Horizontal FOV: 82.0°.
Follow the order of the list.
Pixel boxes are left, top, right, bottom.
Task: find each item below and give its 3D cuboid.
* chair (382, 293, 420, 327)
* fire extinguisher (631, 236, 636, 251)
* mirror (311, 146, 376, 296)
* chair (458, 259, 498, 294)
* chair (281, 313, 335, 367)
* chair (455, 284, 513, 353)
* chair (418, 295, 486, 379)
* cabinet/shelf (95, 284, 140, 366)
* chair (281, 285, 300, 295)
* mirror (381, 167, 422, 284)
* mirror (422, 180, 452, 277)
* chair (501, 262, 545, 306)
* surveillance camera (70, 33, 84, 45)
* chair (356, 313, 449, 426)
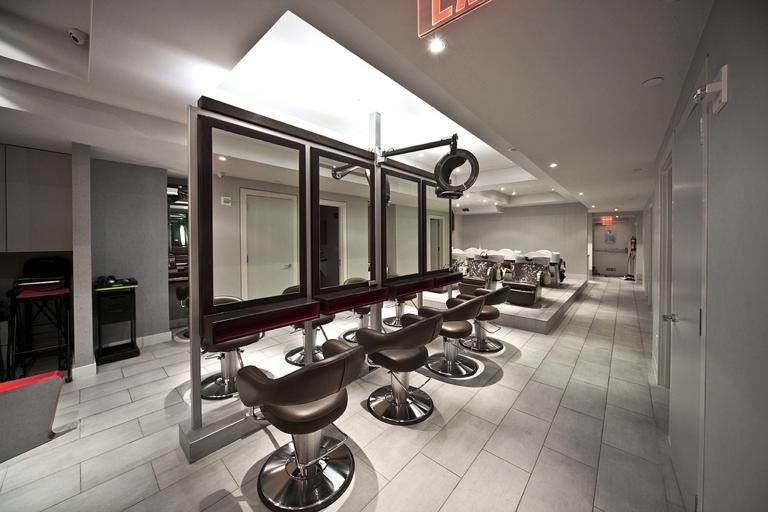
[{"bbox_3d":[0.241,0.856,7.127,0.494,0.514,0.516,6,16,21],"label":"chair"},{"bbox_3d":[7.900,-0.399,13.946,0.133,0.441,0.339,-2,3,35],"label":"fire extinguisher"},{"bbox_3d":[-0.526,-0.402,5.201,0.356,1.556,0.866,-1,3,38],"label":"mirror"},{"bbox_3d":[1.887,0.447,8.872,0.771,0.858,0.723,9,-4,-42],"label":"chair"},{"bbox_3d":[-0.882,0.951,5.476,0.525,0.576,0.570,1,-7,30],"label":"chair"},{"bbox_3d":[1.359,0.863,6.328,0.747,0.905,0.813,1,11,38],"label":"chair"},{"bbox_3d":[0.887,0.980,5.609,0.745,0.915,0.740,-2,4,-31],"label":"chair"},{"bbox_3d":[-3.633,0.874,5.979,0.539,1.037,0.461,-5,3,-33],"label":"cabinet/shelf"},{"bbox_3d":[-1.012,0.356,4.762,0.107,0.138,0.110,-2,5,-27],"label":"chair"},{"bbox_3d":[0.258,-0.245,5.911,0.035,1.697,0.847,2,0,40],"label":"mirror"},{"bbox_3d":[0.778,-0.350,6.387,0.042,1.261,0.913,2,3,38],"label":"mirror"},{"bbox_3d":[2.699,0.453,8.537,0.686,0.885,0.990,4,3,28],"label":"chair"},{"bbox_3d":[-3.154,-2.213,4.522,0.084,0.044,0.117,2,-6,-43],"label":"surveillance camera"},{"bbox_3d":[0.154,1.121,5.123,1.078,1.266,1.041,8,10,42],"label":"chair"}]
